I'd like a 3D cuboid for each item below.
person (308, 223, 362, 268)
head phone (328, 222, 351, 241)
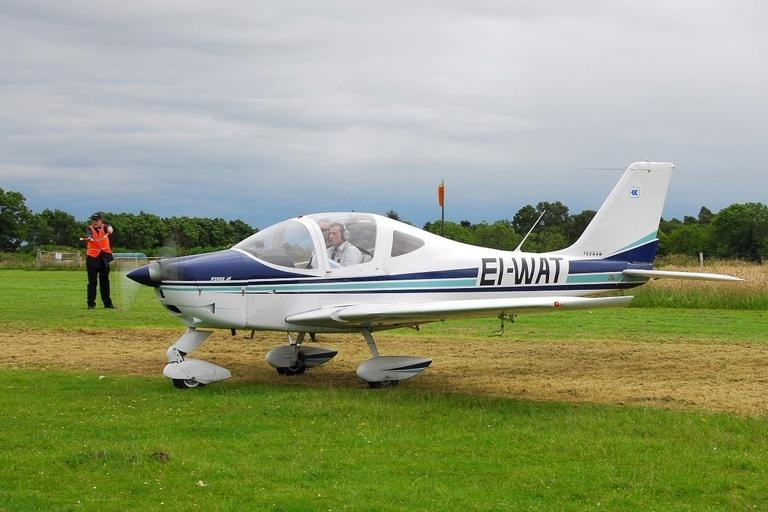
[{"bbox_3d":[-0.709,-0.130,14.004,0.851,0.658,1.250,4,-5,-17],"label":"person"},{"bbox_3d":[-0.707,-0.385,13.683,0.394,0.231,0.316,-2,-17,-2],"label":"head phone"}]
